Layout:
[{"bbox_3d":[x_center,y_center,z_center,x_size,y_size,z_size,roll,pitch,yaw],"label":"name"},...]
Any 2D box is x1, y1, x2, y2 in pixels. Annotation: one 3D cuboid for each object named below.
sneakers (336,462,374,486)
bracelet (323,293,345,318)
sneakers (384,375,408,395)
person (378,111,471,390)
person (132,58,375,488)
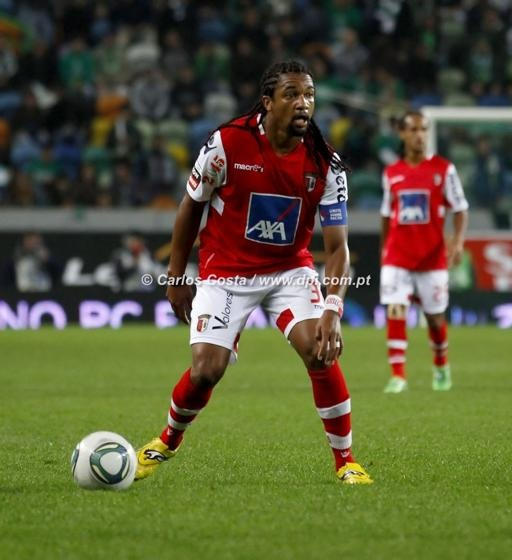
[{"bbox_3d":[0.427,0.831,3.600,0.152,0.062,0.164,0,2,4],"label":"sneakers"},{"bbox_3d":[0.349,0.109,3.582,0.089,0.069,0.093,11,-20,31],"label":"bracelet"},{"bbox_3d":[1.079,0.804,6.381,0.108,0.102,0.282,-2,-7,20],"label":"sneakers"},{"bbox_3d":[1.205,-0.199,6.166,0.440,2.074,1.211,0,2,-16],"label":"person"},{"bbox_3d":[0.030,-0.038,3.692,0.973,1.794,0.401,0,2,7],"label":"person"}]
